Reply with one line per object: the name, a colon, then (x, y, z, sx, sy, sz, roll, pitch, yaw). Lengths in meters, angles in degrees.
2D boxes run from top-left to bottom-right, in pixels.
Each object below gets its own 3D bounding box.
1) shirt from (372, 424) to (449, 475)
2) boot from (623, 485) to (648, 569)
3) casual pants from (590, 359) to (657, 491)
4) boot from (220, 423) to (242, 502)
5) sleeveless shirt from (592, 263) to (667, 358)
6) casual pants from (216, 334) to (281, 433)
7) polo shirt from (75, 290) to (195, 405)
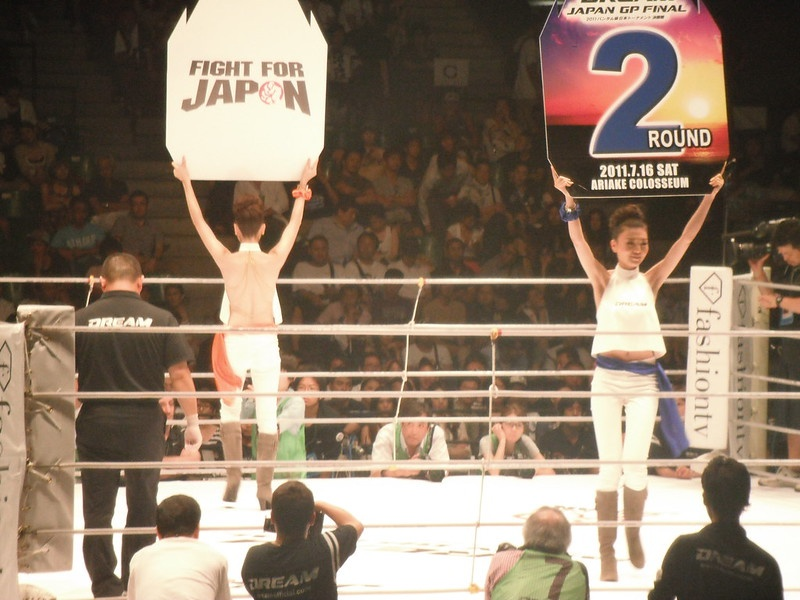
shirt: (0.090, 1.019, 12.851, 0.495, 0.266, 0.390, -4, -43, -11)
boot: (1.509, 1.472, 11.277, 0.140, 0.518, 0.192, -1, -7, 6)
casual pants: (1.446, 0.831, 11.294, 0.430, 0.810, 0.577, -1, -7, 7)
boot: (-1.124, 1.090, 11.787, 0.156, 0.575, 0.242, 0, -6, -27)
sleeveless shirt: (1.474, 0.105, 11.420, 0.601, 0.776, 0.537, 0, -15, 6)
casual pants: (-0.958, 0.552, 11.554, 0.395, 0.662, 0.600, 5, -9, -35)
polo shirt: (-1.715, 0.340, 11.279, 0.886, 0.744, 0.407, 1, 3, -3)
